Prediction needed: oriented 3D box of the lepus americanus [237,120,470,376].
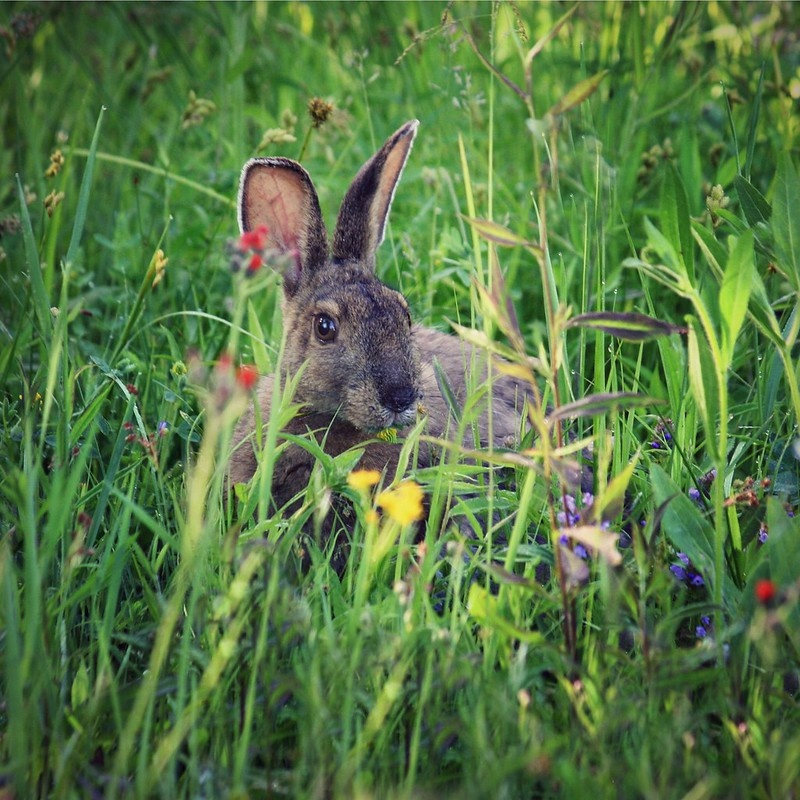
[{"bbox_3d":[-0.199,-0.703,3.798,0.514,1.119,0.822,-14,36,-19],"label":"lepus americanus"}]
